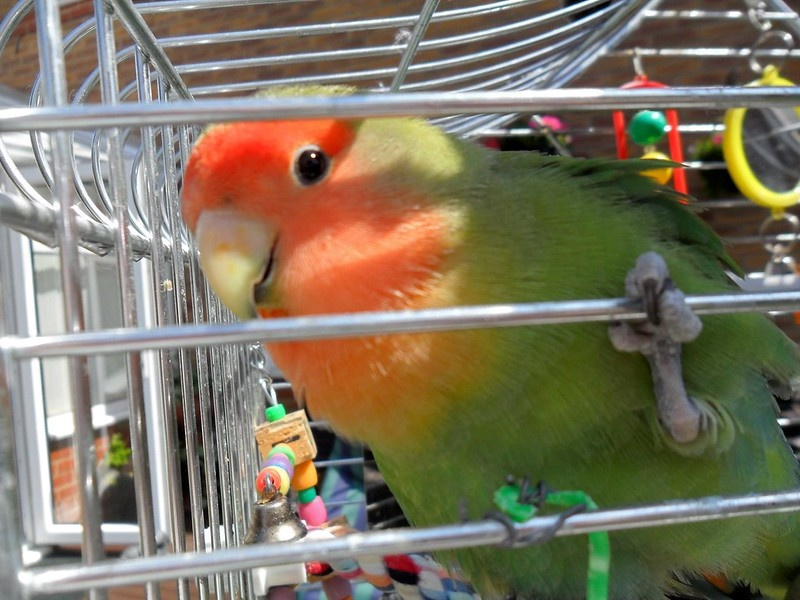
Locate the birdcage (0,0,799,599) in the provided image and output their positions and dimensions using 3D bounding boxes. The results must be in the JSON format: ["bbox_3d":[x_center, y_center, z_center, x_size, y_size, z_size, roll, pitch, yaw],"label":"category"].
[{"bbox_3d":[-0.080,-0.120,1.604,1.246,0.825,0.654,-4,-5,-11],"label":"birdcage"}]
